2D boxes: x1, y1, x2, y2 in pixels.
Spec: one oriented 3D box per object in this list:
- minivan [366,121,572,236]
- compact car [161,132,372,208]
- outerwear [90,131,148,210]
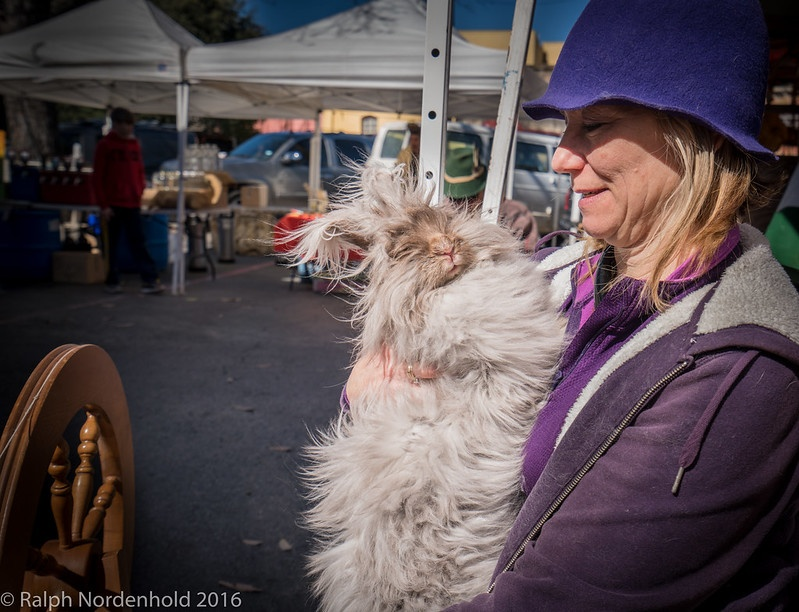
[{"bbox_3d":[1.369,-1.859,10.115,1.826,1.510,3.007,4,4,31],"label":"minivan"},{"bbox_3d":[-1.564,-1.503,8.309,2.370,0.952,1.125,-2,6,-41],"label":"compact car"},{"bbox_3d":[-0.678,-0.331,1.867,0.119,0.186,0.122,-4,15,-21],"label":"outerwear"}]
